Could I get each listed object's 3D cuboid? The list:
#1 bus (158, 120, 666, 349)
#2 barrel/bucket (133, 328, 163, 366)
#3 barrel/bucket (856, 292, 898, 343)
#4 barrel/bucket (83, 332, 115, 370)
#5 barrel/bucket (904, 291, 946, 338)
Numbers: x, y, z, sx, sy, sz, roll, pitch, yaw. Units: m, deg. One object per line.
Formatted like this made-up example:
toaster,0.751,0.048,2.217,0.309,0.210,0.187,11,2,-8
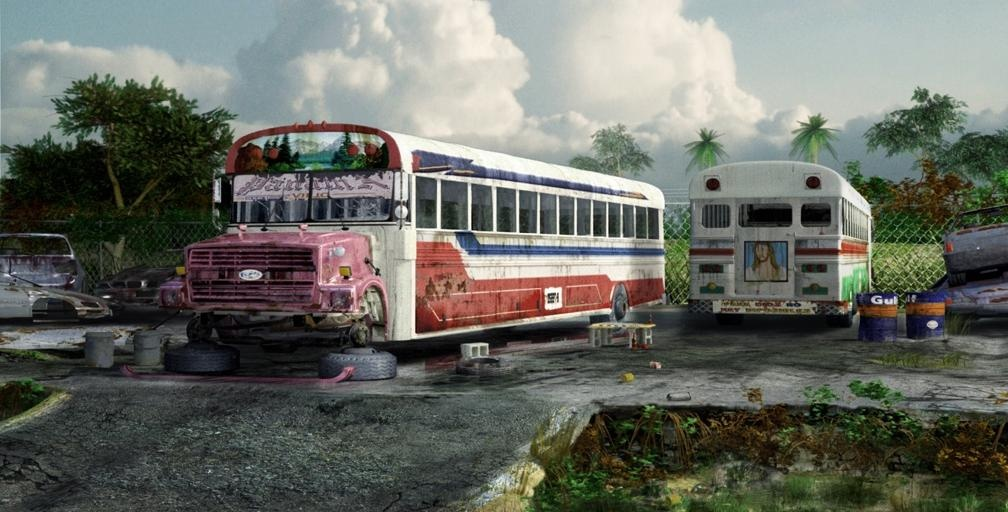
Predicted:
bus,-1.564,-0.369,18.384,4.602,3.854,14.688,-3,-5,39
barrel/bucket,-7.509,1.922,16.258,0.516,0.725,0.630,-1,-3,-27
barrel/bucket,9.174,1.501,19.008,0.905,1.159,0.528,-4,-3,21
barrel/bucket,-8.571,1.957,16.282,0.709,0.719,0.963,5,-7,-40
barrel/bucket,10.655,1.507,19.655,1.096,0.989,0.971,1,-2,-26
